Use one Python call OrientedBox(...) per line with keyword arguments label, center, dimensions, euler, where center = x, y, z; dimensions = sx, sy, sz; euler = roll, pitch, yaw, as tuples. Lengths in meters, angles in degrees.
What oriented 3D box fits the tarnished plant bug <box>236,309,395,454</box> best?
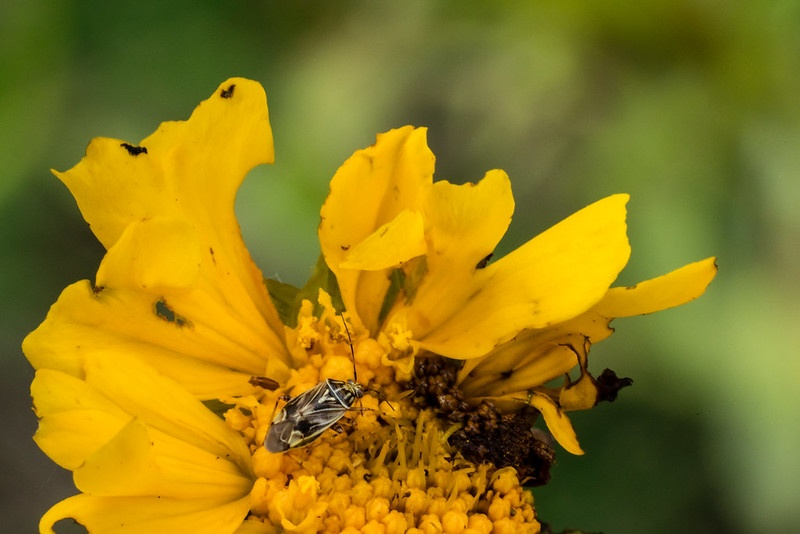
OrientedBox(label="tarnished plant bug", center=(-0.138, 0.212, 1.645), dimensions=(0.151, 0.046, 0.139), euler=(-31, 76, -29))
